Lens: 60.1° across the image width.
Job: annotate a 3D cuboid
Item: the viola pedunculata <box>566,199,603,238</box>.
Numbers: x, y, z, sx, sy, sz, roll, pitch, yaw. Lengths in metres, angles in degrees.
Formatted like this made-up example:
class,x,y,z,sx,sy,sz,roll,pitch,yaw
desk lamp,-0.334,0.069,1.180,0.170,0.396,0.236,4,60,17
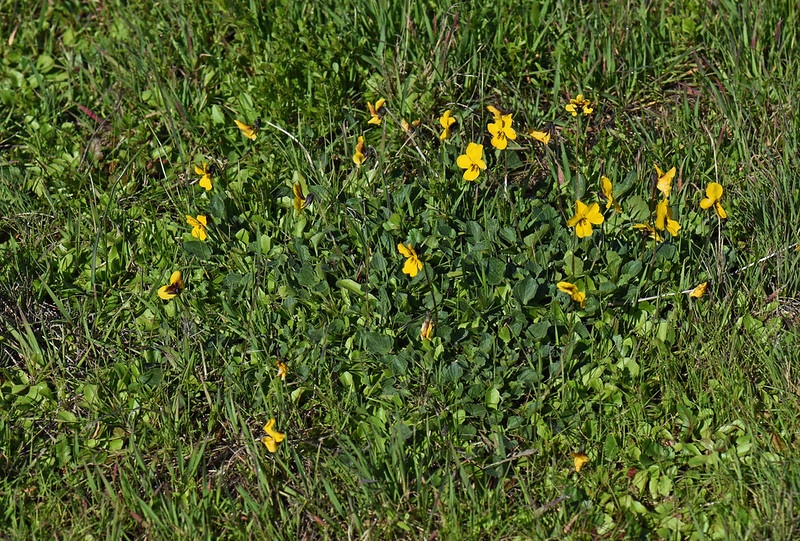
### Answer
class,x,y,z,sx,sy,sz,roll,pitch,yaw
viola pedunculata,0.769,-0.248,2.915,0.134,0.155,0.078,26,27,-3

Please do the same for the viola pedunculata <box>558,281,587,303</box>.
class,x,y,z,sx,sy,sz,roll,pitch,yaw
viola pedunculata,0.718,0.071,2.900,0.106,0.107,0.034,45,85,-5

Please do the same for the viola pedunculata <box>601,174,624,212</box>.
class,x,y,z,sx,sy,sz,roll,pitch,yaw
viola pedunculata,0.986,-0.358,3.241,0.055,0.049,0.210,-6,65,-23

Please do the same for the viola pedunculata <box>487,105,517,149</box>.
class,x,y,z,sx,sy,sz,roll,pitch,yaw
viola pedunculata,0.465,-0.688,3.167,0.105,0.049,0.143,-2,42,-1

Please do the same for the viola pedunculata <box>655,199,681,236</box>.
class,x,y,z,sx,sy,sz,roll,pitch,yaw
viola pedunculata,1.117,-0.213,2.901,0.142,0.055,0.167,36,64,-34

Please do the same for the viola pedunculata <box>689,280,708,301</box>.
class,x,y,z,sx,sy,sz,roll,pitch,yaw
viola pedunculata,1.294,0.088,3.011,0.058,0.099,0.034,25,37,7
